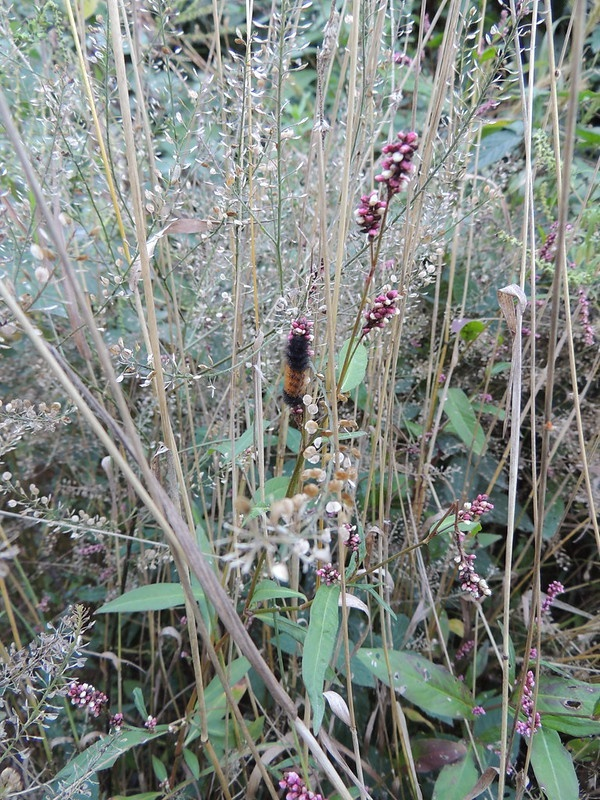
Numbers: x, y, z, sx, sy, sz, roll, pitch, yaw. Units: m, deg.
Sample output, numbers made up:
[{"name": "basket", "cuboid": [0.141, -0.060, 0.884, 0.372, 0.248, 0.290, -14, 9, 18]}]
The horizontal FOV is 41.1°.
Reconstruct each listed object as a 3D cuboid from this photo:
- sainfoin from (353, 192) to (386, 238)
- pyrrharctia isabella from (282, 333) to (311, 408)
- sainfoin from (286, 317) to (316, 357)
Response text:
[{"name": "sainfoin", "cuboid": [0.104, -0.268, 1.171, 0.043, 0.078, 0.102, 0, 28, 4]}, {"name": "pyrrharctia isabella", "cuboid": [-0.006, -0.045, 1.242, 0.037, 0.041, 0.109, 3, 72, -3]}, {"name": "sainfoin", "cuboid": [-0.003, -0.099, 1.269, 0.046, 0.028, 0.064, -3, 40, 5]}]
